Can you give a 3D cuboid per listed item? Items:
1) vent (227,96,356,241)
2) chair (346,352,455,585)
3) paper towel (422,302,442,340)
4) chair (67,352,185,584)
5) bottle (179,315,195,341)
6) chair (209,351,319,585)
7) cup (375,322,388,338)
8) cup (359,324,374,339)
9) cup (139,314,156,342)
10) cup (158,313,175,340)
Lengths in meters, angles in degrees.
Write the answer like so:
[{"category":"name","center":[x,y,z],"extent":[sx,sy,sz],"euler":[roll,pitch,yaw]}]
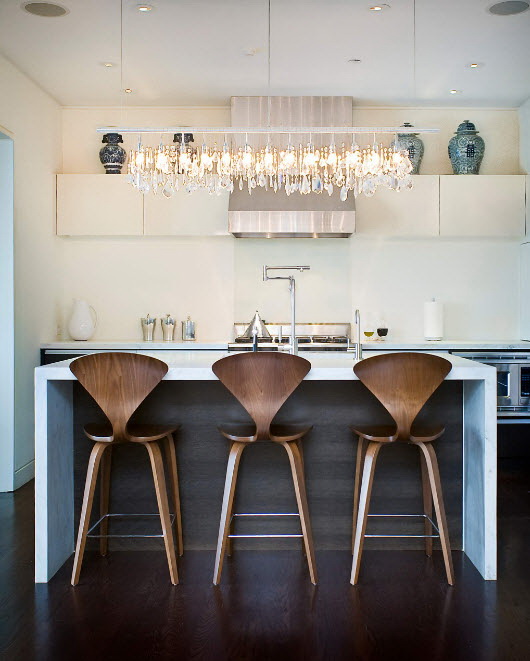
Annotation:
[{"category":"vent","center":[0.406,-1.209,4.891],"extent":[0.452,1.035,0.911],"euler":[-1,12,-39]},{"category":"chair","center":[0.571,0.548,2.789],"extent":[0.420,0.946,0.482],"euler":[0,4,8]},{"category":"paper towel","center":[1.284,-0.072,5.024],"extent":[0.145,0.298,0.188],"euler":[1,4,14]},{"category":"chair","center":[-0.600,0.550,2.797],"extent":[0.467,0.950,0.518],"euler":[-1,4,-9]},{"category":"bottle","center":[-0.596,-0.023,5.066],"extent":[0.129,0.291,0.150],"euler":[1,-3,2]},{"category":"chair","center":[-0.007,0.543,2.774],"extent":[0.423,0.947,0.462],"euler":[0,4,1]},{"category":"cup","center":[0.901,0.010,5.048],"extent":[0.076,0.070,0.077],"euler":[1,-1,0]},{"category":"cup","center":[0.805,0.009,5.076],"extent":[0.085,0.077,0.100],"euler":[1,-9,-4]},{"category":"cup","center":[-0.908,-0.008,5.048],"extent":[0.141,0.280,0.162],"euler":[1,3,-2]},{"category":"cup","center":[-0.759,-0.016,5.013],"extent":[0.138,0.285,0.151],"euler":[1,3,0]}]
